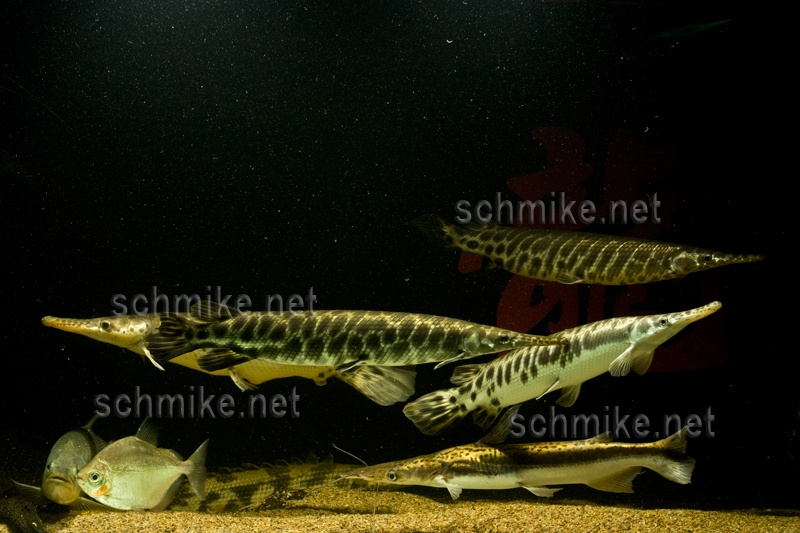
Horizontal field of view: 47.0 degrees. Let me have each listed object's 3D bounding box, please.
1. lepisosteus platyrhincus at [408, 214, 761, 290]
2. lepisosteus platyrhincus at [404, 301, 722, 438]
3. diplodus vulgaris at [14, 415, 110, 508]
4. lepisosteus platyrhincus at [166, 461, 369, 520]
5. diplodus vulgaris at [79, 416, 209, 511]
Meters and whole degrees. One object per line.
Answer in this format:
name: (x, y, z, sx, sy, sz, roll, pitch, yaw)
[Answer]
lepisosteus platyrhincus: (1.083, -0.066, 5.158, 2.025, 0.267, 0.428, 4, 86, 13)
lepisosteus platyrhincus: (0.888, 0.579, 5.059, 1.496, 0.276, 0.409, -19, 84, 7)
diplodus vulgaris: (-1.829, 1.091, 5.031, 0.306, 0.214, 0.540, 10, 30, -1)
lepisosteus platyrhincus: (-0.748, 1.259, 5.099, 0.817, 0.198, 0.210, -7, 94, -9)
diplodus vulgaris: (-1.401, 1.130, 5.015, 0.651, 0.203, 0.385, 2, 67, -8)
